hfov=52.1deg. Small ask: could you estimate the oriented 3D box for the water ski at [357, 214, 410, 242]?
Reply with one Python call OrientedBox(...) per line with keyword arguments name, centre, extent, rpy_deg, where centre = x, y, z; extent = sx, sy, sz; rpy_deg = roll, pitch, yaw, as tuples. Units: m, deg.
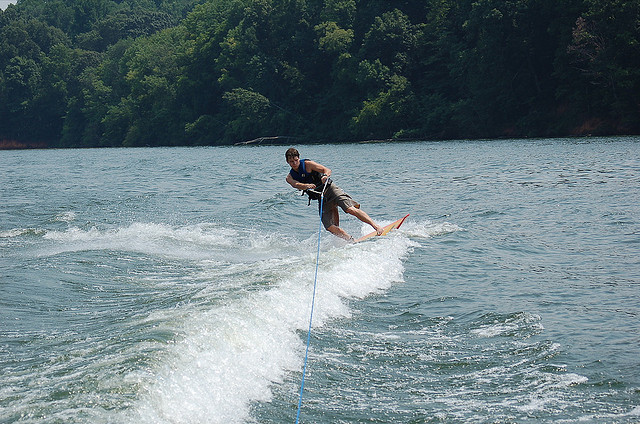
OrientedBox(name="water ski", centre=(1.293, 0.315, 13.097), extent=(0.562, 0.285, 2.080), rpy_deg=(5, 8, 20))
